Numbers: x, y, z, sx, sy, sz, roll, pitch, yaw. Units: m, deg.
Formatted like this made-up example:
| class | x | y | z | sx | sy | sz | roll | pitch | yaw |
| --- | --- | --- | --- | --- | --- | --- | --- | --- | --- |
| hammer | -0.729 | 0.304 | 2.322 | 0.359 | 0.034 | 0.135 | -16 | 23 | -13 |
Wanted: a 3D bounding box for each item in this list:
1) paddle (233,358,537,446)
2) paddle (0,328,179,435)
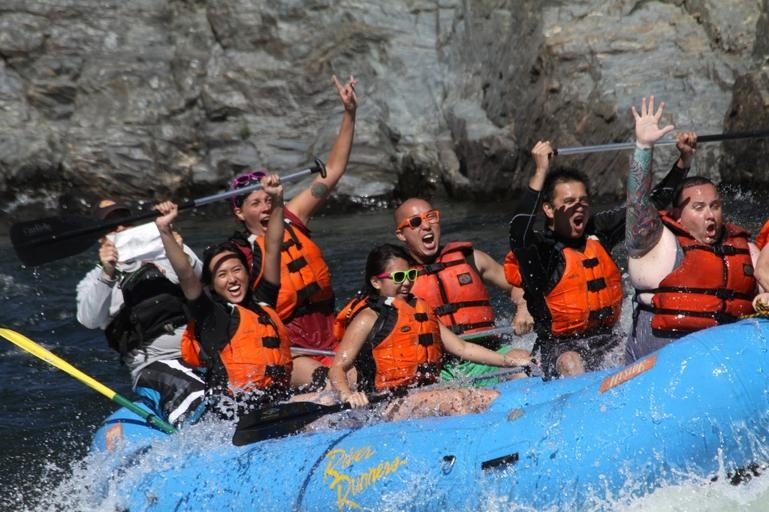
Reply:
| class | x | y | z | sx | sy | sz | roll | pitch | yaw |
| --- | --- | --- | --- | --- | --- | --- | --- | --- | --- |
| paddle | -0.006 | 1.159 | 7.553 | 2.113 | 0.165 | 0.280 | -10 | 21 | -4 |
| paddle | -2.721 | 1.182 | 8.787 | 1.741 | 0.101 | 0.195 | 29 | 57 | 18 |
